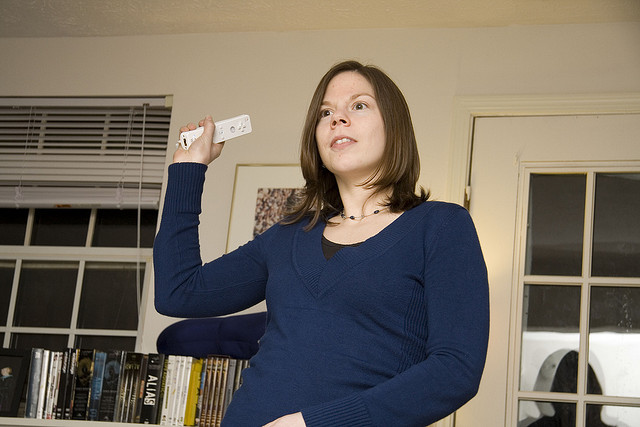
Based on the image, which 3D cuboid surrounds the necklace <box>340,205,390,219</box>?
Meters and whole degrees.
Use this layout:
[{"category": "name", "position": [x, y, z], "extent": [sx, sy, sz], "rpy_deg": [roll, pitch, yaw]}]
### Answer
[{"category": "necklace", "position": [0.113, 0.007, 1.513], "extent": [0.148, 0.023, 0.033], "rpy_deg": [-9, 12, 26]}]

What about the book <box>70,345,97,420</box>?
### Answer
[{"category": "book", "position": [-0.964, 0.691, 2.290], "extent": [0.074, 0.213, 0.215], "rpy_deg": [2, -14, -1]}]

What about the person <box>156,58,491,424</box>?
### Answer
[{"category": "person", "position": [-0.006, 0.023, 1.470], "extent": [0.847, 0.969, 0.386], "rpy_deg": [-1, -10, 18]}]

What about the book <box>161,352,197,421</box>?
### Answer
[{"category": "book", "position": [-0.562, 0.689, 2.239], "extent": [0.098, 0.179, 0.180], "rpy_deg": [7, -17, -2]}]

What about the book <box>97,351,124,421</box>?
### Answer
[{"category": "book", "position": [-0.844, 0.684, 2.271], "extent": [0.080, 0.265, 0.026], "rpy_deg": [-1, -9, 17]}]

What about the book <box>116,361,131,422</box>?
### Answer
[{"category": "book", "position": [-0.790, 0.703, 2.262], "extent": [0.033, 0.229, 0.016], "rpy_deg": [4, -9, -11]}]

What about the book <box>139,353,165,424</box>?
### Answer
[{"category": "book", "position": [-0.671, 0.689, 2.247], "extent": [0.073, 0.260, 0.030], "rpy_deg": [0, -9, 13]}]

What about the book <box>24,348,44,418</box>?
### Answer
[{"category": "book", "position": [-1.186, 0.691, 2.328], "extent": [0.076, 0.268, 0.029], "rpy_deg": [-2, -10, 25]}]

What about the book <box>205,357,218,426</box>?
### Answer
[{"category": "book", "position": [-0.428, 0.697, 2.233], "extent": [0.021, 0.250, 0.034], "rpy_deg": [-2, -10, 24]}]
